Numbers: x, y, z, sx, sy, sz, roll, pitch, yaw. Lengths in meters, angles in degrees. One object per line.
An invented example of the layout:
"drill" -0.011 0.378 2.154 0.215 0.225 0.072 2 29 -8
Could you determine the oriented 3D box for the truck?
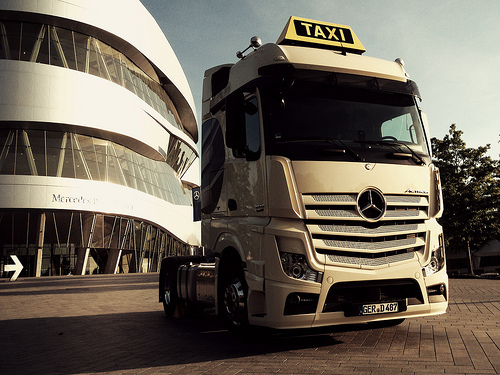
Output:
"truck" 0.637 0.543 7.982 2.751 4.662 6.159 4 -15 -20
